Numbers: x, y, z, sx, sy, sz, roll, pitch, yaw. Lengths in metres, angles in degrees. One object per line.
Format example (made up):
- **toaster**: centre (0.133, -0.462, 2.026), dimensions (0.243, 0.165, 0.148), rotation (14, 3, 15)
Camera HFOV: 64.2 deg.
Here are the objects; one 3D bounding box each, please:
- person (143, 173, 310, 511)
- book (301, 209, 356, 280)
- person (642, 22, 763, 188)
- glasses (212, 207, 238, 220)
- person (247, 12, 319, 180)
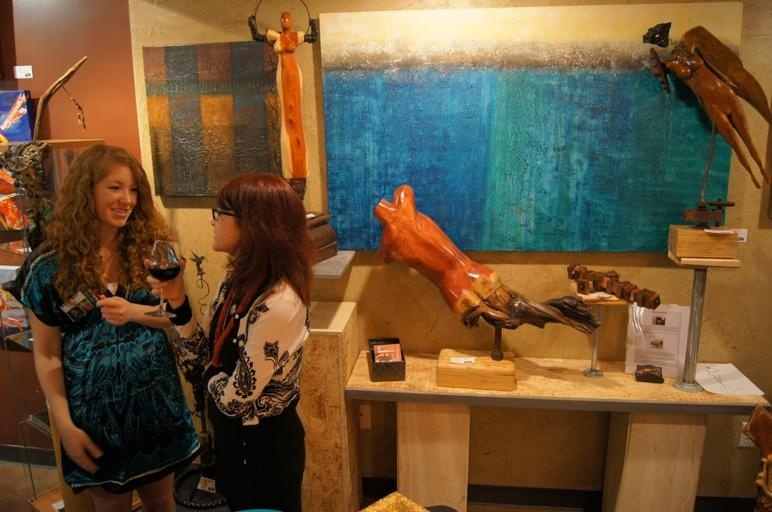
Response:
- **person**: centre (-0.628, 0.461, 2.952), dimensions (0.567, 1.690, 0.406), rotation (-2, 11, -4)
- **book**: centre (-0.358, -0.057, 3.627), dimensions (0.362, 0.249, 0.364), rotation (9, 22, 20)
- **person**: centre (1.851, -0.883, 3.569), dimensions (0.708, 0.911, 0.204), rotation (3, 11, 19)
- **glasses**: centre (-0.755, -0.199, 2.889), dimensions (0.110, 0.032, 0.106), rotation (3, 1, -8)
- **person**: centre (-0.590, -0.943, 3.659), dimensions (0.383, 0.953, 0.449), rotation (-2, 10, -6)
